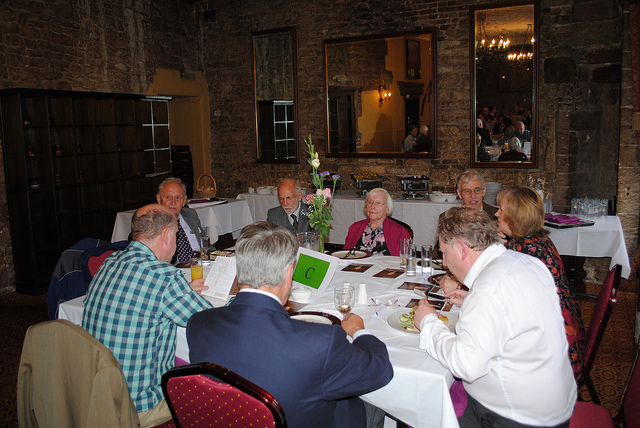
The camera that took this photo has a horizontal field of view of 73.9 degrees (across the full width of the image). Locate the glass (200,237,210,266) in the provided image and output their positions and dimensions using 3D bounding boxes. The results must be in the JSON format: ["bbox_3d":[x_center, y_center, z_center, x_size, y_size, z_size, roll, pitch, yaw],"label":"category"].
[{"bbox_3d":[-0.925,0.292,3.467,0.077,0.195,0.260,-6,8,-15],"label":"glass"}]

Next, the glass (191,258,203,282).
[{"bbox_3d":[-0.893,0.389,3.098,0.082,0.135,0.189,-7,8,-17],"label":"glass"}]

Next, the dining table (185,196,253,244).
[{"bbox_3d":[-1.447,0.006,6.073,0.973,0.484,0.733,3,8,27],"label":"dining table"}]

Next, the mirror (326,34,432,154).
[{"bbox_3d":[1.043,-2.032,6.893,2.029,2.137,0.081,1,6,22],"label":"mirror"}]

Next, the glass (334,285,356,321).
[{"bbox_3d":[0.166,0.540,2.554,0.120,0.196,0.127,-1,-8,43],"label":"glass"}]

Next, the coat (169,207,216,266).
[{"bbox_3d":[-1.175,0.204,4.204,0.204,0.489,0.479,-3,8,11],"label":"coat"}]

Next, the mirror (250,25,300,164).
[{"bbox_3d":[-0.773,-2.125,7.665,0.977,2.424,0.182,0,9,25],"label":"mirror"}]

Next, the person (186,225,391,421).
[{"bbox_3d":[-0.136,0.485,1.882,0.874,0.865,0.429,-3,8,11],"label":"person"}]

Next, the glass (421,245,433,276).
[{"bbox_3d":[0.819,0.328,3.216,0.083,0.204,0.300,-2,8,14],"label":"glass"}]

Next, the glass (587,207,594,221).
[{"bbox_3d":[3.103,-0.021,4.825,0.071,0.138,0.075,-1,9,20],"label":"glass"}]

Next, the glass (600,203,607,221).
[{"bbox_3d":[3.234,-0.038,4.807,0.068,0.182,0.191,1,10,34],"label":"glass"}]

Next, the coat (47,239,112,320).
[{"bbox_3d":[-1.734,0.494,2.913,0.315,0.434,0.339,-9,-27,20],"label":"coat"}]

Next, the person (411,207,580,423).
[{"bbox_3d":[0.829,0.520,2.086,0.754,1.098,0.466,1,9,32],"label":"person"}]

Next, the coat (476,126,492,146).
[{"bbox_3d":[2.434,-1.172,6.291,0.252,0.247,0.089,4,17,41],"label":"coat"}]

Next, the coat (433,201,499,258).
[{"bbox_3d":[1.492,0.122,4.322,0.741,0.373,0.752,7,20,33],"label":"coat"}]

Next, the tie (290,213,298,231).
[{"bbox_3d":[-0.234,0.066,4.158,0.046,0.155,0.028,-7,-11,16],"label":"tie"}]

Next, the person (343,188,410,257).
[{"bbox_3d":[0.623,0.077,4.529,0.785,0.857,0.460,6,7,34],"label":"person"}]

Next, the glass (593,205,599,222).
[{"bbox_3d":[3.142,-0.024,4.796,0.057,0.165,0.176,1,9,32],"label":"glass"}]

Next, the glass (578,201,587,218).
[{"bbox_3d":[3.064,-0.074,4.917,0.084,0.165,0.210,1,9,31],"label":"glass"}]

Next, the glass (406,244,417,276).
[{"bbox_3d":[0.687,0.330,3.157,0.073,0.232,0.142,-2,8,12],"label":"glass"}]

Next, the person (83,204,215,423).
[{"bbox_3d":[-0.923,0.551,2.326,0.576,1.200,0.691,30,39,28],"label":"person"}]
